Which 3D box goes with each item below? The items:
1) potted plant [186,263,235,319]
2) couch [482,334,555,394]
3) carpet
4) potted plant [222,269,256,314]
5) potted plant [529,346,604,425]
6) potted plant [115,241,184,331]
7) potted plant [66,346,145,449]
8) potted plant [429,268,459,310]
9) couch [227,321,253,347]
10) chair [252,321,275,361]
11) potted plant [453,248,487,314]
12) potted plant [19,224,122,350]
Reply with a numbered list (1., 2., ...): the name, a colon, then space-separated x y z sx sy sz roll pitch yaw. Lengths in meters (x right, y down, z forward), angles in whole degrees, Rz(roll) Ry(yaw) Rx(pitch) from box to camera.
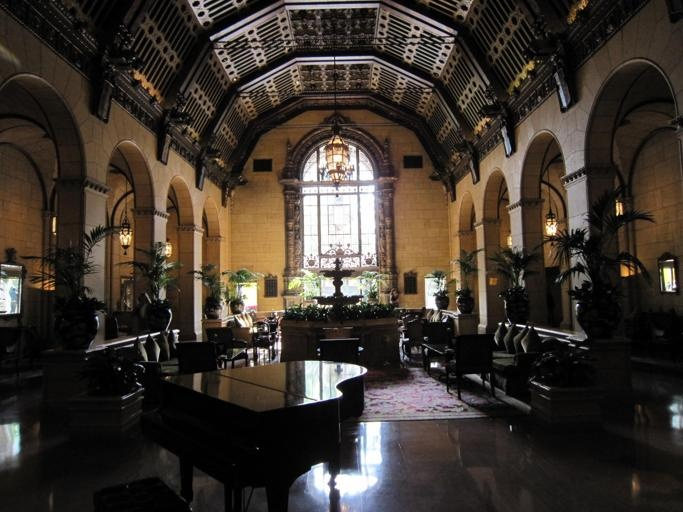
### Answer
1. potted plant: -4.225 1.244 17.845 1.710 1.826 1.293 1 -6 -25
2. couch: 3.509 2.253 10.614 0.932 1.226 1.703 1 -8 3
3. carpet: 1.724 2.829 10.581 2.958 0.198 3.128 0 -4 -14
4. potted plant: -3.765 1.245 19.240 1.341 1.644 1.496 7 -10 -38
5. potted plant: 3.748 1.922 9.245 0.888 1.254 1.655 1 -9 0
6. potted plant: -4.863 0.826 14.058 1.075 2.349 3.185 0 -4 -18
7. potted plant: -3.856 2.306 8.852 1.135 1.340 0.871 1 -5 -26
8. potted plant: 3.812 1.211 18.786 1.205 1.775 1.436 -1 -2 2
9. couch: -2.912 2.294 15.488 0.661 1.038 0.962 -1 -5 -1
10. chair: -2.224 2.497 15.740 0.631 1.032 3.329 -1 -4 -8
11. potted plant: 4.003 0.898 17.331 0.918 1.936 1.090 1 -3 -19
12. potted plant: -5.283 0.577 10.752 1.096 2.488 2.210 1 -5 -24
